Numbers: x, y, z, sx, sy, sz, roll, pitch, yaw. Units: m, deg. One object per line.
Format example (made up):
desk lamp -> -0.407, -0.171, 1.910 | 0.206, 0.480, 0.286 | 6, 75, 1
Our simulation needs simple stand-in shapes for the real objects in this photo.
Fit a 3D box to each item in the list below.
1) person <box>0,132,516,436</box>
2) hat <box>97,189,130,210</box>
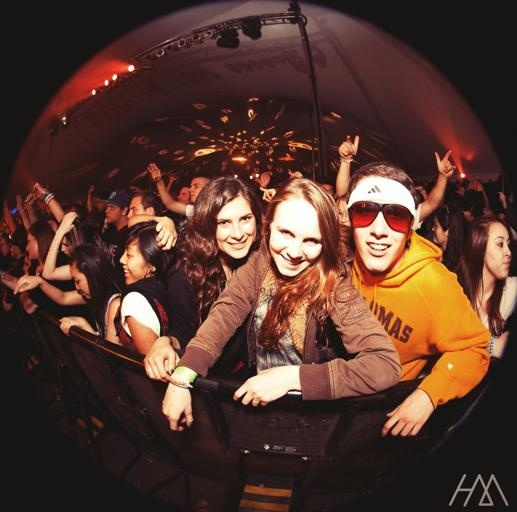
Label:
person -> 0.585, 0.299, 2.426 | 2.290, 1.496, 0.885 | -5, 32, 1
hat -> -0.914, -0.360, 2.452 | 0.160, 0.097, 0.107 | 11, 9, -19
